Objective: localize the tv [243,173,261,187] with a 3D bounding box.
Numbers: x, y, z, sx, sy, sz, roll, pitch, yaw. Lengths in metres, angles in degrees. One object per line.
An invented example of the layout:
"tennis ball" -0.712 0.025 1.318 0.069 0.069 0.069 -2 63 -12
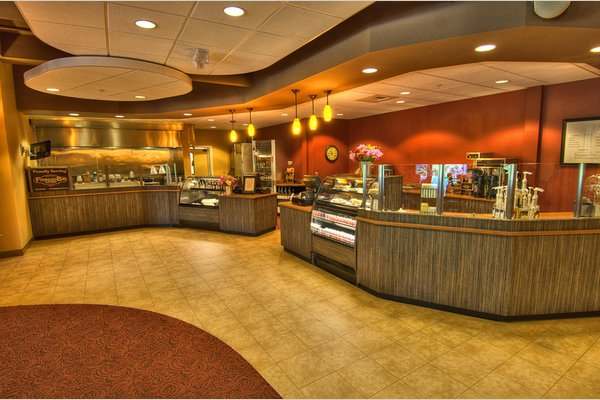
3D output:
"tv" -1.222 -0.434 9.422 0.433 0.395 0.379 0 6 1

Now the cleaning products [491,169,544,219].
"cleaning products" 3.177 -0.123 5.574 0.594 0.705 0.635 -5 10 -26

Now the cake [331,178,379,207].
"cake" 1.191 -0.132 6.746 0.913 0.457 0.725 8 8 41

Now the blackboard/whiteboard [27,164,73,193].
"blackboard/whiteboard" -6.179 -0.495 9.190 0.854 0.588 0.133 -4 8 -34

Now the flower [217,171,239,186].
"flower" -1.889 -0.479 9.713 0.548 0.305 0.423 1 6 12

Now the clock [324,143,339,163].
"clock" 1.025 -1.459 11.871 0.476 0.538 0.101 -4 8 -34

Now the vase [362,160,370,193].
"vase" 1.115 -0.368 6.337 0.120 0.534 0.275 1 7 10
